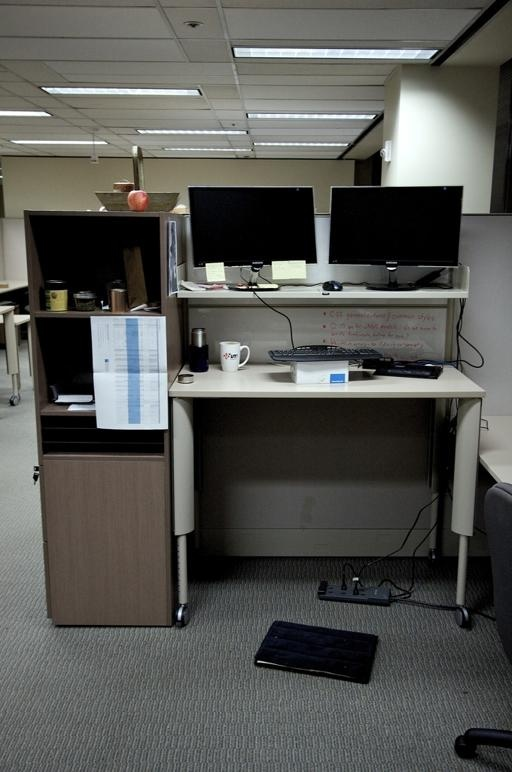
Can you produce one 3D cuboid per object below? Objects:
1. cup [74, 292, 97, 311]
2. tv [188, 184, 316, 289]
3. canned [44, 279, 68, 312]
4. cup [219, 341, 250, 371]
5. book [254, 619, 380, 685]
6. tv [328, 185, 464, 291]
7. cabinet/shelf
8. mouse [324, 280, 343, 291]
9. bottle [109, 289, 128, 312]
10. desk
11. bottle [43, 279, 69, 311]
[{"bbox_3d":[-0.501,-0.249,1.689,0.048,0.054,0.058,0,4,-8],"label":"cup"},{"bbox_3d":[-0.015,-0.519,1.982,0.339,0.259,0.107,-1,16,-1],"label":"tv"},{"bbox_3d":[-0.581,-0.268,1.685,0.079,0.094,0.081,10,12,33],"label":"canned"},{"bbox_3d":[-0.070,-0.112,2.099,0.124,0.124,0.083,-4,10,-24],"label":"cup"},{"bbox_3d":[0.183,0.767,1.685,0.332,0.027,0.246,3,9,16],"label":"book"},{"bbox_3d":[0.492,-0.522,2.002,0.354,0.294,0.111,1,14,7],"label":"tv"},{"bbox_3d":[-0.490,0.098,1.883,0.413,1.273,0.428,-3,10,-22],"label":"cabinet/shelf"},{"bbox_3d":[0.271,-0.349,2.003,0.058,0.027,0.038,-1,12,-1],"label":"mouse"},{"bbox_3d":[-0.399,-0.247,1.671,0.042,0.070,0.064,-1,7,-14],"label":"bottle"},{"bbox_3d":[0.268,0.176,2.083,1.001,1.335,0.498,0,10,0],"label":"desk"},{"bbox_3d":[-0.582,-0.264,1.682,0.078,0.096,0.082,5,6,23],"label":"bottle"}]
